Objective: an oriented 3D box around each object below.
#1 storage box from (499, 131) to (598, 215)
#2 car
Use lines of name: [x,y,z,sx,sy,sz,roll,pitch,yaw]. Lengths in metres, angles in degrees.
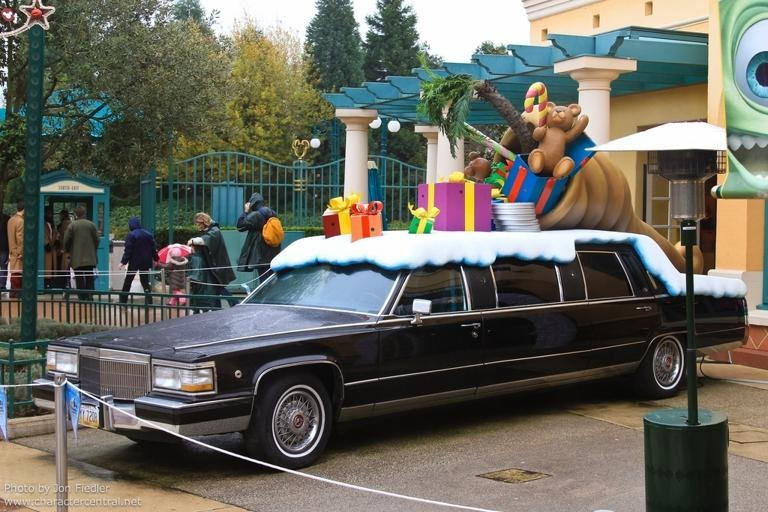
storage box: [2.218,-1.119,11.536,1.144,1.077,0.573,-3,11,-19]
car: [0.240,0.895,10.022,7.297,2.304,1.509,-4,11,-26]
